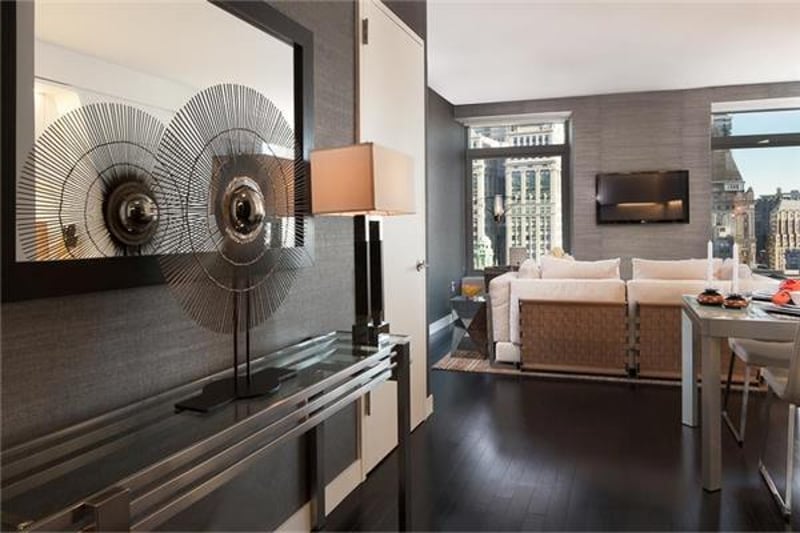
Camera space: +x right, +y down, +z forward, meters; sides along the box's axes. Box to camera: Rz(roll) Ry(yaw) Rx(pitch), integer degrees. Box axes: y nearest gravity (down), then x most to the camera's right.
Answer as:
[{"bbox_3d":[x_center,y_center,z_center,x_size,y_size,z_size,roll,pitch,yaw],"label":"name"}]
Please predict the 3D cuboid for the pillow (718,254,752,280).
[{"bbox_3d":[2.846,-0.001,4.542,0.249,0.240,0.268,0,0,10],"label":"pillow"}]

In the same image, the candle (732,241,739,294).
[{"bbox_3d":[2.009,-0.007,3.204,0.031,0.296,0.305,4,10,33],"label":"candle"}]

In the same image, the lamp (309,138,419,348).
[{"bbox_3d":[-0.165,-0.122,2.449,0.501,0.864,0.401,-2,8,-4],"label":"lamp"}]

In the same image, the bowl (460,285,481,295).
[{"bbox_3d":[0.779,0.255,5.955,0.150,0.080,0.154,1,-1,0],"label":"bowl"}]

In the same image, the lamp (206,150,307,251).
[{"bbox_3d":[-0.542,-0.244,1.957,0.132,0.426,0.425,-4,-4,38],"label":"lamp"}]

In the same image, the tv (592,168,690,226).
[{"bbox_3d":[3.161,-0.915,6.979,1.126,0.678,0.145,0,8,8],"label":"tv"}]
